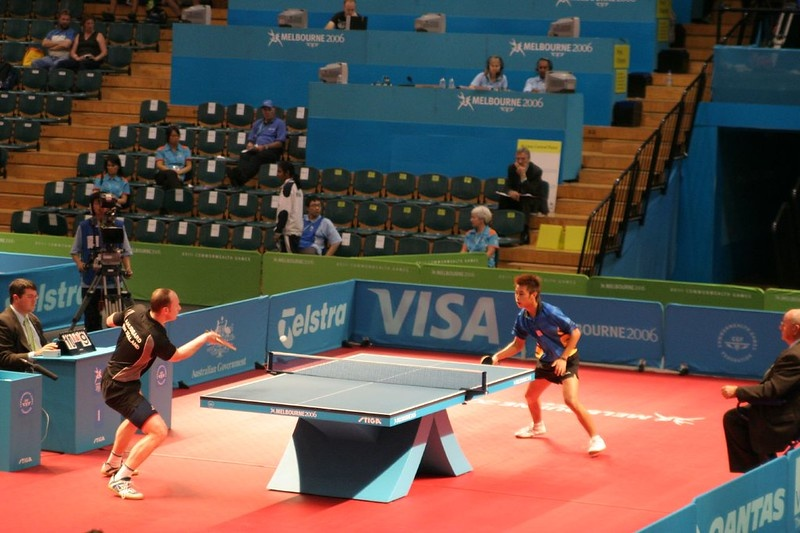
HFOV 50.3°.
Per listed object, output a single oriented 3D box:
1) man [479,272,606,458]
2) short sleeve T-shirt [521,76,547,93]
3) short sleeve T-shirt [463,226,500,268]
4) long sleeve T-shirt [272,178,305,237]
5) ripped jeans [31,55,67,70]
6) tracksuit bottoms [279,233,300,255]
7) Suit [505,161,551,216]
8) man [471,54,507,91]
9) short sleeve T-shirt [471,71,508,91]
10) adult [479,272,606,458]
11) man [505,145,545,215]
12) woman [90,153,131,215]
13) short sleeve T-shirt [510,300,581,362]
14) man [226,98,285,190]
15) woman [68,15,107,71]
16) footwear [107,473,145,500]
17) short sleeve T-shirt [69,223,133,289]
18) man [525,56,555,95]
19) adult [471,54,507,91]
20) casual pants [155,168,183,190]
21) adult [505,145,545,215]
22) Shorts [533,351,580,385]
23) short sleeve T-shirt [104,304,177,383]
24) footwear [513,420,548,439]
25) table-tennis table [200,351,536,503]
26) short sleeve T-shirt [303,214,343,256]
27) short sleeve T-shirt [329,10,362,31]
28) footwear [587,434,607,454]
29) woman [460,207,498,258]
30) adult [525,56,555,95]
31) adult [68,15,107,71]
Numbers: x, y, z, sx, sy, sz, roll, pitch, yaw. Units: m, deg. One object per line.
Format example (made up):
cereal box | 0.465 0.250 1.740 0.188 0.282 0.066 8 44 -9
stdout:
man | 1.797 1.313 10.612 1.240 2.369 1.625 -7 10 -27
short sleeve T-shirt | 2.782 -3.702 17.363 0.417 0.207 0.558 -2 33 18
short sleeve T-shirt | 1.424 -0.314 14.769 0.673 0.756 0.393 5 3 32
long sleeve T-shirt | -1.860 -0.992 14.614 0.581 0.971 0.244 -7 12 -42
ripped jeans | -8.349 -4.835 20.192 0.516 0.180 0.540 0 19 18
tracksuit bottoms | -1.859 -0.407 14.783 0.379 0.538 0.290 2 15 2
Suit | 2.341 -1.383 15.883 0.643 1.556 0.887 4 9 32
man | 1.838 -3.911 17.326 0.702 0.712 0.513 2 9 5
short sleeve T-shirt | 1.878 -3.776 17.438 0.559 0.429 0.335 1 -30 8
adult | 1.797 1.313 10.612 1.240 2.369 1.625 -7 10 -27
man | 2.390 -1.556 15.723 0.791 1.205 0.542 0 9 -5
woman | -5.448 -1.527 16.090 0.685 1.129 0.691 8 9 19
short sleeve T-shirt | 1.645 0.714 9.476 0.731 0.698 0.352 -10 19 32
man | -2.944 -2.529 17.419 0.792 1.168 1.950 8 37 21
woman | -7.384 -5.189 20.151 0.906 1.329 1.212 4 9 1
footwear | -2.602 2.107 8.162 0.351 0.179 0.182 22 21 7
short sleeve T-shirt | -4.358 -0.119 12.368 1.007 1.247 0.517 0 -5 -7
man | 2.851 -3.858 17.299 0.513 0.728 1.145 3 8 10
adult | 1.889 -3.889 17.501 0.912 0.920 0.712 2 4 9
casual pants | -4.642 -1.735 17.147 0.533 0.407 0.457 -1 8 -12
adult | 2.389 -1.556 15.723 0.788 1.205 0.540 0 9 -6
Shorts | 1.774 1.184 9.589 0.586 0.331 0.543 -5 -14 11
short sleeve T-shirt | -2.568 0.785 8.273 0.773 0.703 0.353 36 23 20
footwear | 1.537 1.908 9.903 0.299 0.124 0.187 -1 6 7
table-tennis table | -0.259 1.535 8.581 2.491 1.388 2.010 4 9 16
short sleeve T-shirt | -1.369 -0.515 15.069 0.728 0.605 0.414 5 -8 19
short sleeve T-shirt | -1.139 -5.548 19.302 0.820 0.433 0.449 2 8 4
footwear | 2.196 1.964 9.404 0.187 0.238 0.310 3 8 14
woman | 1.387 -0.575 14.612 0.628 0.876 0.538 4 9 16
adult | 2.834 -3.845 17.202 0.513 0.728 0.945 3 8 9
adult | -7.450 -5.224 20.088 0.839 1.224 1.111 6 17 14
